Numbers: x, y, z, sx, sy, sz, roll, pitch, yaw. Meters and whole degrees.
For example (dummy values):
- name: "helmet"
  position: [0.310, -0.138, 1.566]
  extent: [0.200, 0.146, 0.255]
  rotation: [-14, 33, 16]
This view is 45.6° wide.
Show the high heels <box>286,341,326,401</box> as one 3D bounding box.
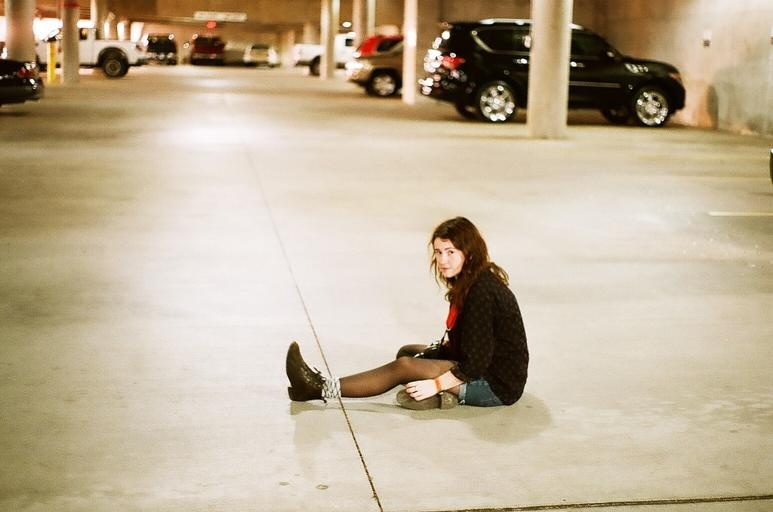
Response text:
- name: "high heels"
  position: [-0.485, 0.723, 5.595]
  extent: [0.198, 0.447, 0.161]
  rotation: [1, 9, 15]

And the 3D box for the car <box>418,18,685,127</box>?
- name: "car"
  position: [3.730, -4.183, 21.487]
  extent: [5.668, 2.142, 2.578]
  rotation: [-3, 16, -7]

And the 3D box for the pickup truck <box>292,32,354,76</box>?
- name: "pickup truck"
  position: [-3.516, -11.456, 52.120]
  extent: [3.688, 2.316, 2.389]
  rotation: [11, 16, 39]

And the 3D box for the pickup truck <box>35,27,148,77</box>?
- name: "pickup truck"
  position: [-12.691, -8.778, 39.577]
  extent: [3.617, 1.598, 2.294]
  rotation: [1, 9, -7]

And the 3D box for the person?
- name: "person"
  position: [0.112, 0.338, 5.999]
  extent: [1.589, 1.208, 0.903]
  rotation: [0, 5, 4]
